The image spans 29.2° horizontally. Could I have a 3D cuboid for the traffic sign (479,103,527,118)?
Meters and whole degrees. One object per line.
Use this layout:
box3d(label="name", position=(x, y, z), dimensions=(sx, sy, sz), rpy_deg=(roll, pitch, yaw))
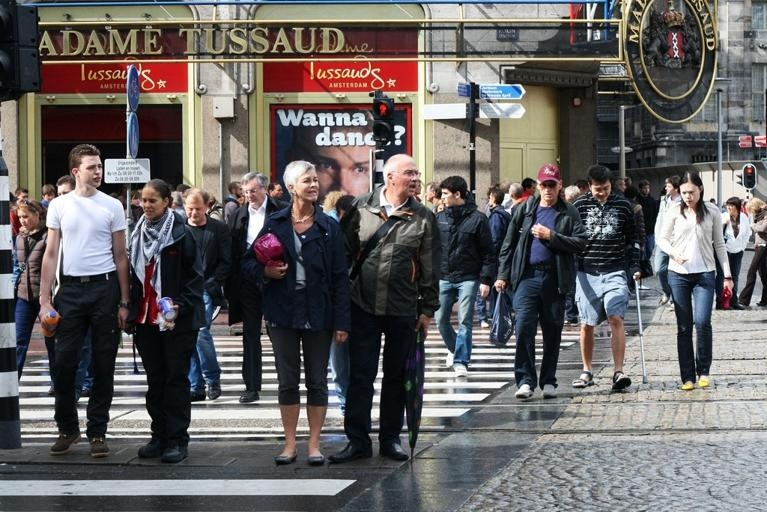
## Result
box3d(label="traffic sign", position=(2.456, -3.059, 30.966), dimensions=(0.598, 0.298, 1.195), rpy_deg=(0, 4, 45))

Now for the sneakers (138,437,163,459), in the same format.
box3d(label="sneakers", position=(-3.093, 2.573, 19.613), dimensions=(0.367, 0.237, 0.187), rpy_deg=(4, -2, -4))

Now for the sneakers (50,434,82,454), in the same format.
box3d(label="sneakers", position=(-4.267, 2.513, 19.813), dimensions=(0.181, 0.209, 0.480), rpy_deg=(3, 6, 36))

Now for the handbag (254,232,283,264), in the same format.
box3d(label="handbag", position=(-1.510, -0.092, 19.354), dimensions=(0.388, 0.427, 0.139), rpy_deg=(-3, 2, -5))

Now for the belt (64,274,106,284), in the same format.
box3d(label="belt", position=(-4.012, 0.311, 19.752), dimensions=(0.608, 0.075, 0.108), rpy_deg=(-3, 3, -8))

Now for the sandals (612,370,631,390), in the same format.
box3d(label="sandals", position=(3.504, 1.859, 21.843), dimensions=(0.163, 0.164, 0.365), rpy_deg=(-2, -18, -5))

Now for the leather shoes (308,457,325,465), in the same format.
box3d(label="leather shoes", position=(-0.887, 2.674, 19.372), dimensions=(0.223, 0.117, 0.150), rpy_deg=(-3, 3, -8))

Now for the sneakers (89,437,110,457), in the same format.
box3d(label="sneakers", position=(-3.794, 2.539, 19.691), dimensions=(0.250, 0.248, 0.239), rpy_deg=(-3, 3, -11))

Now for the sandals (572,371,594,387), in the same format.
box3d(label="sandals", position=(3.003, 1.884, 22.232), dimensions=(0.163, 0.180, 0.432), rpy_deg=(-4, -6, 30))

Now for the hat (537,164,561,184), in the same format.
box3d(label="hat", position=(2.440, -1.203, 21.777), dimensions=(0.250, 0.200, 0.375), rpy_deg=(-1, -3, 7))

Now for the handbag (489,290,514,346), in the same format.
box3d(label="handbag", position=(1.808, 0.956, 22.361), dimensions=(0.387, 0.855, 0.364), rpy_deg=(-4, 2, -28))

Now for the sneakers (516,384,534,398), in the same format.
box3d(label="sneakers", position=(2.076, 1.992, 21.709), dimensions=(0.297, 0.223, 0.192), rpy_deg=(-4, 3, -19))

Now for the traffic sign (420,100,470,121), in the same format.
box3d(label="traffic sign", position=(1.279, -3.018, 30.724), dimensions=(0.558, 0.289, 0.925), rpy_deg=(0, 4, 41))

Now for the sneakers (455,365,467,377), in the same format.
box3d(label="sneakers", position=(1.219, 1.821, 23.358), dimensions=(0.147, 0.136, 0.347), rpy_deg=(1, -6, -3))

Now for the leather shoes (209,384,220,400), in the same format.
box3d(label="leather shoes", position=(-2.555, 2.026, 22.171), dimensions=(0.202, 0.215, 0.292), rpy_deg=(-3, 3, -7))

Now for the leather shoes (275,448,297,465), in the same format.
box3d(label="leather shoes", position=(-1.289, 2.654, 19.401), dimensions=(0.130, 0.129, 0.311), rpy_deg=(-7, -9, 35))

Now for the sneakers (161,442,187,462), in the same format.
box3d(label="sneakers", position=(-2.777, 2.608, 19.481), dimensions=(0.165, 0.175, 0.370), rpy_deg=(-2, -9, 16))

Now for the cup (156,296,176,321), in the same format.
box3d(label="cup", position=(-2.868, 0.709, 19.478), dimensions=(0.224, 0.298, 0.116), rpy_deg=(-3, 2, -8))

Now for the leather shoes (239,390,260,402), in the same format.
box3d(label="leather shoes", position=(-1.985, 2.097, 21.935), dimensions=(0.136, 0.128, 0.318), rpy_deg=(-2, -10, 34))

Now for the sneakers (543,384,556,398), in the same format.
box3d(label="sneakers", position=(2.429, 1.991, 21.754), dimensions=(0.170, 0.142, 0.359), rpy_deg=(-1, -5, 5))

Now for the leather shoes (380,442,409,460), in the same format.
box3d(label="leather shoes", position=(0.131, 2.581, 19.477), dimensions=(0.174, 0.159, 0.389), rpy_deg=(0, 0, -41))

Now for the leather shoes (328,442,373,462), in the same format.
box3d(label="leather shoes", position=(-0.418, 2.569, 19.498), dimensions=(0.615, 0.251, 0.229), rpy_deg=(-2, 2, -20))

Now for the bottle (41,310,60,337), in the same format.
box3d(label="bottle", position=(-4.470, 0.907, 19.763), dimensions=(0.208, 0.229, 0.315), rpy_deg=(-4, 3, -33))

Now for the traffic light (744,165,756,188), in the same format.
box3d(label="traffic light", position=(12.740, -2.756, 51.527), dimensions=(0.421, 0.827, 0.245), rpy_deg=(0, 0, 6))

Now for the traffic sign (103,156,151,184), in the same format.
box3d(label="traffic sign", position=(-4.776, -1.577, 27.416), dimensions=(1.046, 0.604, 0.039), rpy_deg=(0, 4, 10))
